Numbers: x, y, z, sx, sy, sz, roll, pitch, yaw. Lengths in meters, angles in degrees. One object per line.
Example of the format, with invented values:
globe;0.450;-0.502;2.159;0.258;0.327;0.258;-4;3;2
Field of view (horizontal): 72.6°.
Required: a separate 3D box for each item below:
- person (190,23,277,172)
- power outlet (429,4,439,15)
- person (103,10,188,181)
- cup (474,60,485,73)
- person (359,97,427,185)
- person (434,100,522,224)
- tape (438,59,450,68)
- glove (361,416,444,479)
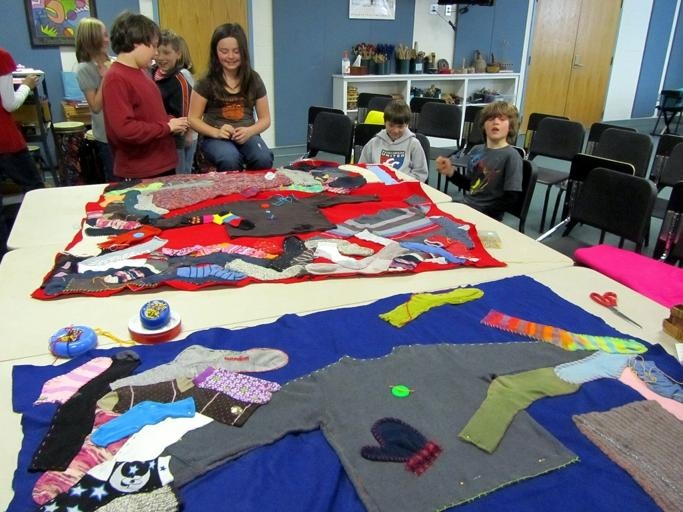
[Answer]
person;-0.740;-1.019;3.078;0.528;0.938;0.456;-7;26;-17
power outlet;1.359;-3.629;6.809;0.177;0.149;0.036;-20;31;-37
person;-1.153;-0.907;2.744;0.464;0.953;0.416;-13;28;-28
cup;2.131;-2.956;7.257;0.198;0.202;0.207;-4;26;2
person;0.356;-0.744;3.398;0.539;0.729;0.408;11;24;17
person;0.819;-0.576;2.867;0.539;0.745;0.582;2;16;9
tape;1.560;-2.944;7.069;0.132;0.138;0.132;-21;31;-25
glove;0.143;0.477;1.178;0.183;0.031;0.193;-18;22;-37
